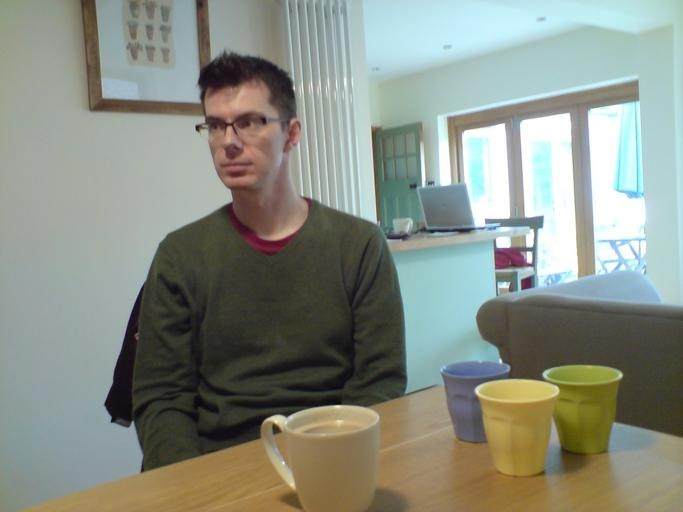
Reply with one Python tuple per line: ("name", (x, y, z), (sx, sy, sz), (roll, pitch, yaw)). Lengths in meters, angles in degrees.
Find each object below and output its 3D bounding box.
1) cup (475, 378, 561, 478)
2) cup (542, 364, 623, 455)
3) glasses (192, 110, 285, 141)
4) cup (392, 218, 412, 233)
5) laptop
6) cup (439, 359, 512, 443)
("cup", (0.324, 0.323, 1.125), (0.147, 0.149, 0.158), (-1, 4, 0))
("cup", (0.471, 0.302, 1.179), (0.145, 0.147, 0.156), (0, -6, 0))
("glasses", (-0.256, -0.346, 1.556), (0.209, 0.064, 0.078), (-2, 11, -3))
("cup", (0.361, -0.169, 3.575), (0.111, 0.108, 0.094), (-8, -6, 33))
("laptop", (0.748, -0.324, 3.942), (0.285, 0.435, 0.375), (-11, 7, -44))
("cup", (0.250, 0.280, 1.170), (0.139, 0.160, 0.144), (0, 5, 0))
